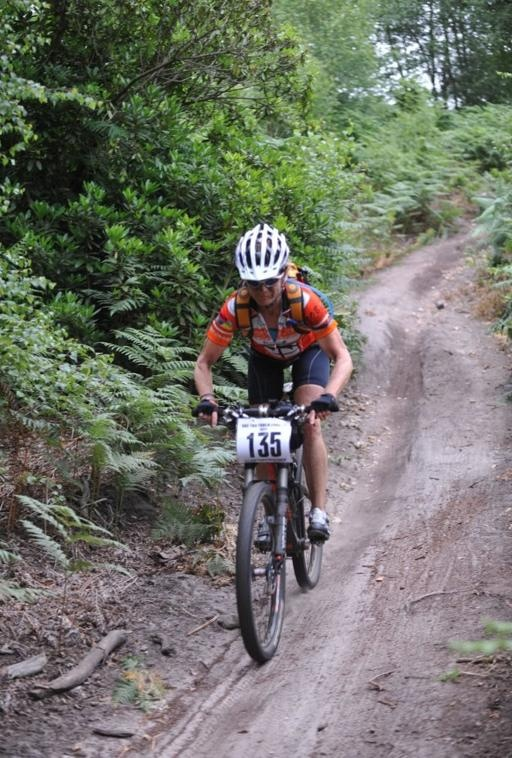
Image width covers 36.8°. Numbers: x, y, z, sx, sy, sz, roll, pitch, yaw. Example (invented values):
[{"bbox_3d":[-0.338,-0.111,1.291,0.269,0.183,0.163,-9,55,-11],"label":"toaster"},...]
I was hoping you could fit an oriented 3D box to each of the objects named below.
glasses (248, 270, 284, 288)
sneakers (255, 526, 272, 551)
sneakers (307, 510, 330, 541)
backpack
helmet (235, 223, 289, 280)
[{"bbox_3d":[0.053,-0.597,4.705,0.226,0.109,0.159,-8,5,-2],"label":"glasses"},{"bbox_3d":[0.051,1.016,4.899,0.100,0.072,0.167,-10,40,7],"label":"sneakers"},{"bbox_3d":[0.427,1.016,5.267,0.105,0.118,0.273,-2,-22,7],"label":"sneakers"},{"bbox_3d":[0.078,-0.484,5.071,0.356,0.397,0.454,-28,-50,33],"label":"backpack"},{"bbox_3d":[0.033,-0.779,4.760,0.333,0.361,0.306,-8,5,-1],"label":"helmet"}]
